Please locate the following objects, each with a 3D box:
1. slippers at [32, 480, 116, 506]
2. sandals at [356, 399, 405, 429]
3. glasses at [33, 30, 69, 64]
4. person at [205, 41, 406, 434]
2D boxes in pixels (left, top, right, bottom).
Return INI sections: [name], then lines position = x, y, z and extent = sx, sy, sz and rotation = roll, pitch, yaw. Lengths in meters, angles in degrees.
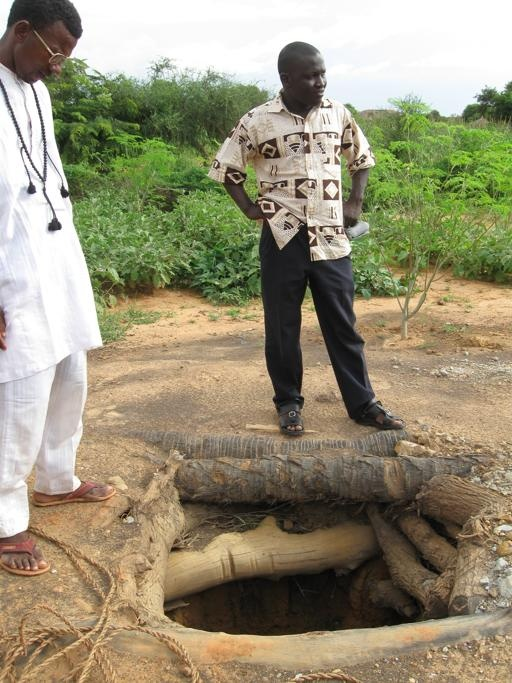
[slippers]
position = -0.855, 0.701, 3.036
extent = 0.349, 0.088, 0.124
rotation = -1, 7, -20
[sandals]
position = 0.745, 0.443, 3.897
extent = 0.299, 0.109, 0.154
rotation = 4, 14, 33
[glasses]
position = -0.720, -1.042, 2.256
extent = 0.031, 0.079, 0.085
rotation = -20, 1, 29
[person]
position = 0.275, -0.512, 3.660
extent = 0.953, 2.193, 0.395
rotation = -4, 16, -4
